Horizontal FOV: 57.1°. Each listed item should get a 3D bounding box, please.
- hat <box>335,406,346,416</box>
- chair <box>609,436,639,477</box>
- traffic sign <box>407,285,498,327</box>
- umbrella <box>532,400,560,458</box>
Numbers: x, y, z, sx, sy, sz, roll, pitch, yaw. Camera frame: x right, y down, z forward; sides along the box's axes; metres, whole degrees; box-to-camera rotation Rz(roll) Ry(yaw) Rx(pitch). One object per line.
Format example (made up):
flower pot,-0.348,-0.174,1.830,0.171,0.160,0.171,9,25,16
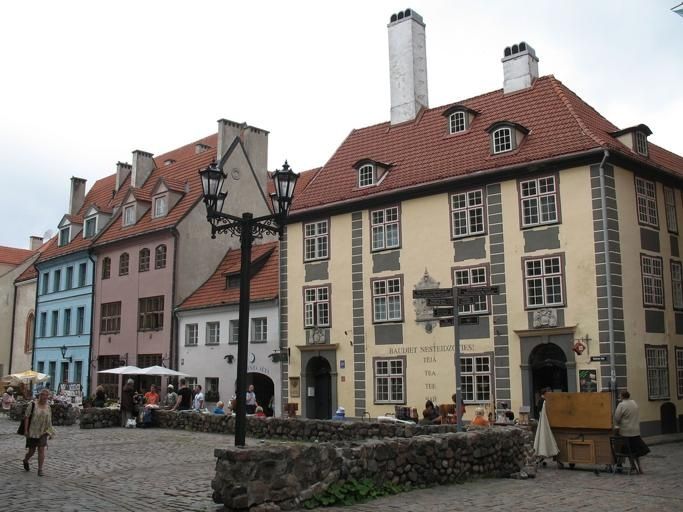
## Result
hat,-0.029,7.280,29.285,0.439,0.677,0.478,-1,-9,1
chair,6.964,4.884,15.510,0.463,0.930,0.822,-12,-20,35
traffic sign,2.528,1.229,14.741,1.801,0.998,1.356,4,-18,-15
umbrella,5.177,4.426,16.098,0.595,1.421,0.493,-9,-18,27
